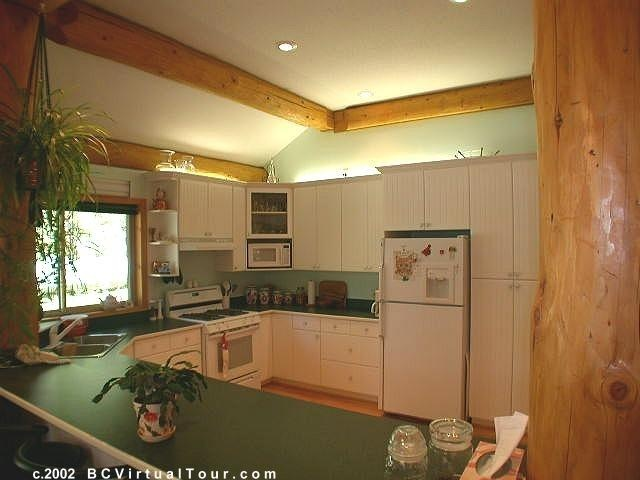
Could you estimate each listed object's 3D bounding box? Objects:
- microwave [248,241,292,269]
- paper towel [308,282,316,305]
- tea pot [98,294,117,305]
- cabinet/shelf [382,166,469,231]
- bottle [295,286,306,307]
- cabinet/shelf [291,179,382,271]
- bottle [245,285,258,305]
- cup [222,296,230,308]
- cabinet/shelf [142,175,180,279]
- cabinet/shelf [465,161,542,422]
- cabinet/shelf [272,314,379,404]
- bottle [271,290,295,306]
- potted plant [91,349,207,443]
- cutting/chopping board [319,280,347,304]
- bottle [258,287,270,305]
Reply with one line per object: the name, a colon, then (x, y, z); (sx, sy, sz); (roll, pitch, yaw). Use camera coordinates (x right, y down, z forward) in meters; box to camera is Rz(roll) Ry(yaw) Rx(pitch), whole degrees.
microwave: (-0.599, 0.187, 5.679); (0.483, 0.324, 0.309); (0, -1, -24)
paper towel: (-0.093, 0.634, 5.825); (0.100, 0.289, 0.186); (0, 6, -3)
tea pot: (-1.984, 0.557, 4.510); (0.119, 0.127, 0.092); (4, -3, -1)
cabinet/shelf: (1.036, -0.391, 4.535); (0.586, 0.461, 0.231); (0, -2, 30)
bottle: (-0.212, 0.705, 5.952); (0.135, 0.232, 0.186); (-1, -6, 16)
cabinet/shelf: (0.231, -0.169, 5.422); (1.022, 0.939, 0.375); (0, -1, 29)
bottle: (-0.845, 0.688, 6.012); (0.141, 0.209, 0.182); (0, 6, -7)
cup: (-1.080, 0.728, 5.557); (0.070, 0.136, 0.124); (-1, 6, -16)
cabinet/shelf: (-1.600, -0.156, 4.857); (0.340, 1.027, 0.238); (6, 8, 44)
cabinet/shelf: (1.602, 0.427, 4.269); (0.564, 2.324, 0.300); (2, 6, 15)
cabinet/shelf: (0.116, 1.248, 5.040); (0.889, 0.569, 0.320); (-1, -4, 28)
bottle: (-0.458, 0.733, 6.016); (0.250, 0.150, 0.141); (3, -4, -37)
potted plant: (-0.777, 0.664, 2.252); (0.513, 0.373, 0.528); (-2, 0, 19)
cutting/chopping board: (0.172, 0.624, 5.698); (0.279, 0.255, 0.042); (1, 0, 35)
bottle: (-0.678, 0.699, 5.997); (0.135, 0.183, 0.171); (1, 6, 6)
